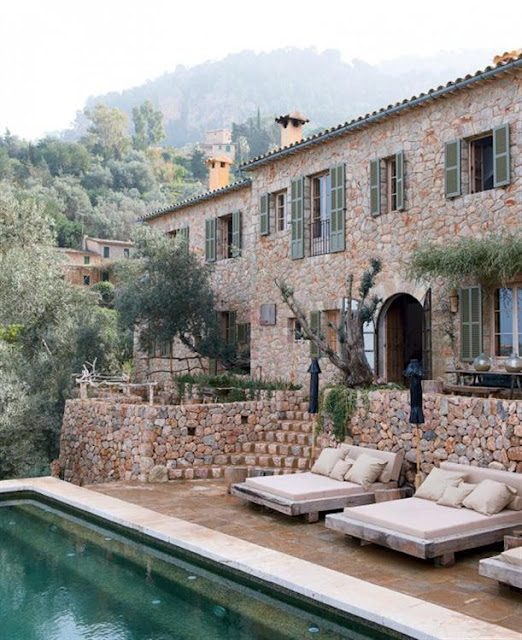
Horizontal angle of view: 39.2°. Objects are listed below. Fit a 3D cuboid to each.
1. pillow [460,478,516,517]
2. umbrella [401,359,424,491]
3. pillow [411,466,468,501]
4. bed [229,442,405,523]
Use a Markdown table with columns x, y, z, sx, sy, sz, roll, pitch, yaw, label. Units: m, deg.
| x | y | z | sx | sy | sz | roll | pitch | yaw | label |
| --- | --- | --- | --- | --- | --- | --- | --- | --- | --- |
| 2.252 | 1.741 | 7.238 | 0.377 | 0.263 | 0.567 | 3 | 6 | 21 | pillow |
| 1.939 | 1.233 | 8.965 | 0.192 | 1.636 | 0.316 | -4 | 4 | -19 | umbrella |
| 1.917 | 1.717 | 7.819 | 0.406 | 0.299 | 0.476 | -3 | 2 | -31 | pillow |
| 0.695 | 1.999 | 8.960 | 1.889 | 0.868 | 1.589 | 9 | -10 | -38 | bed |
